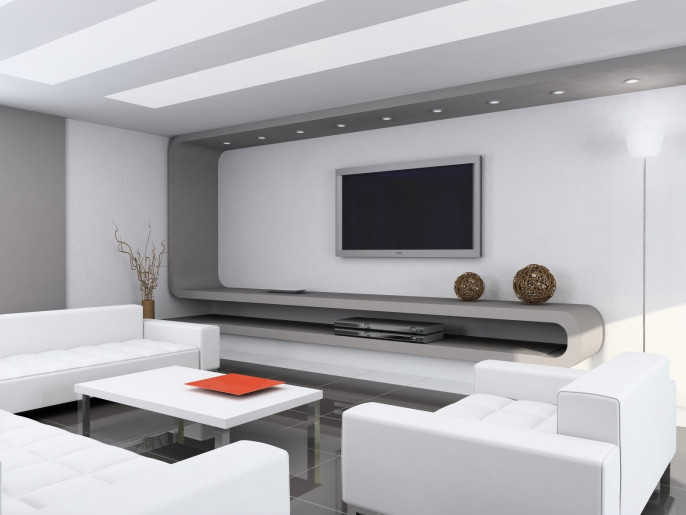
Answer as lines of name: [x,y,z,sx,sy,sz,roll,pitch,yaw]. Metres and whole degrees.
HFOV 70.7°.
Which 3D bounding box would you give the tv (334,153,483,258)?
tv: [0.804,-0.584,5.437,1.371,0.747,0.133,-1,1,33]
